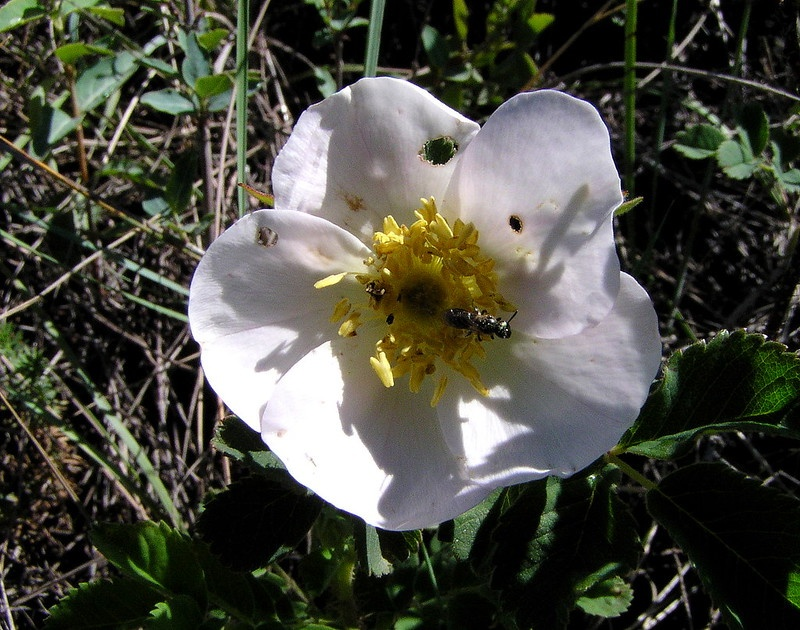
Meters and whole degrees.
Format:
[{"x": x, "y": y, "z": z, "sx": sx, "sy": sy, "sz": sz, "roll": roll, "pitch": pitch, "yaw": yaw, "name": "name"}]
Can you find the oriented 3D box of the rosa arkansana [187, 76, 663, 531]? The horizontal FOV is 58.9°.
[{"x": 0.056, "y": -0.041, "z": 1.988, "sx": 1.249, "sy": 0.396, "sz": 1.224, "roll": -28, "pitch": 84, "yaw": -1, "name": "rosa arkansana"}]
